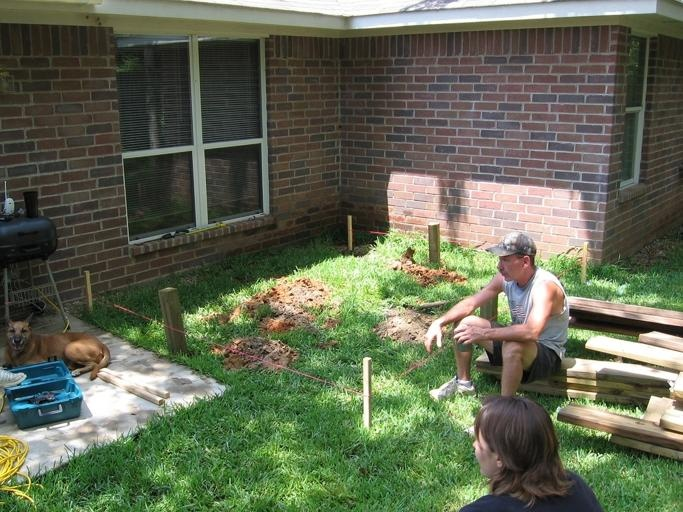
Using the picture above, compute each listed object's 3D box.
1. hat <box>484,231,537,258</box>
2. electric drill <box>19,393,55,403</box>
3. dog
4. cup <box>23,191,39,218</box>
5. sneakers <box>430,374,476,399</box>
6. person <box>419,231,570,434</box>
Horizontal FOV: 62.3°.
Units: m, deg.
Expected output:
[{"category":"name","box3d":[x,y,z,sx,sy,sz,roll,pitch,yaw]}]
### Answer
[{"category":"hat","box3d":[1.444,-0.103,4.838,0.355,0.153,0.212,6,10,6]},{"category":"electric drill","box3d":[-2.658,1.261,5.025,0.122,0.047,0.154,-2,3,-43]},{"category":"dog","box3d":[-2.906,0.966,5.812,1.021,0.500,0.599,2,-11,-20]},{"category":"cup","box3d":[-3.562,-0.602,6.492,0.161,0.298,0.125,-3,17,-8]},{"category":"sneakers","box3d":[1.053,1.232,5.328,0.472,0.161,0.161,-5,3,-7]},{"category":"person","box3d":[1.399,0.615,5.132,1.452,1.347,1.069,-3,7,13]}]
